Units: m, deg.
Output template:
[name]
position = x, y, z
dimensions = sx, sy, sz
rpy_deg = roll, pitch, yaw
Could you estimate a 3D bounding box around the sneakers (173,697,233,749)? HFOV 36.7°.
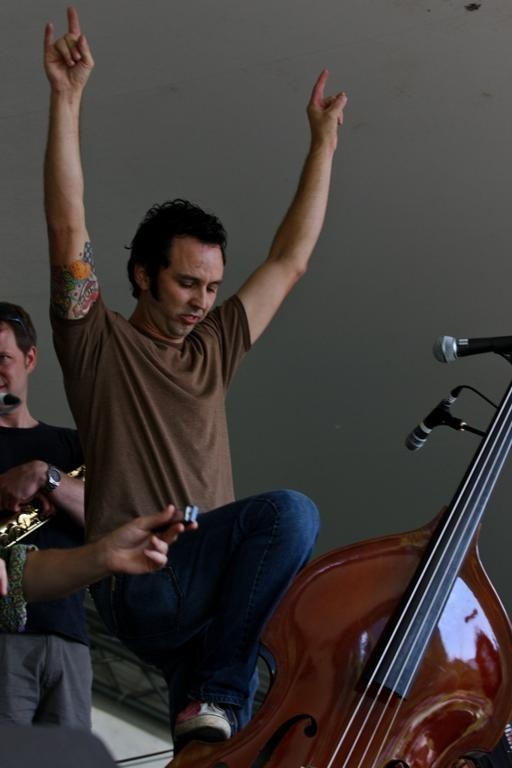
[sneakers]
position = -0.092, 0.584, 1.332
dimensions = 0.054, 0.138, 0.055
rpy_deg = 16, 59, -11
